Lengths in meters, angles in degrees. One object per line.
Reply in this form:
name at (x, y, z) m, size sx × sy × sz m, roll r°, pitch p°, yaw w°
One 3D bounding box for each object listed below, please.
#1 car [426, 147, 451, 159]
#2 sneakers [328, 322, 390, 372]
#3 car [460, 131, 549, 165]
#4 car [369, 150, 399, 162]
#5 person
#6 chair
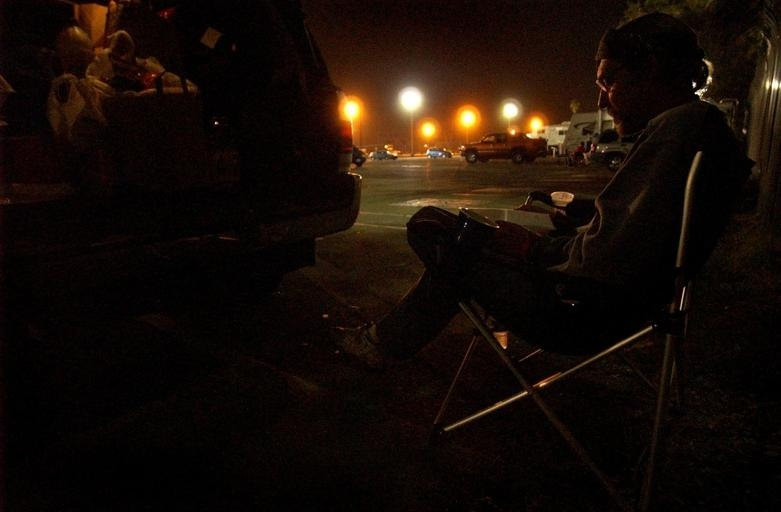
car at (4.732, -10.301, 55.663) m, size 2.694 × 1.154 × 1.569 m, roll 5°, pitch 12°, yaw 32°
sneakers at (-0.245, 0.567, 3.547) m, size 0.205 × 0.215 × 0.565 m, roll -8°, pitch 16°, yaw -30°
car at (6.453, -5.997, 30.598) m, size 4.409 × 1.395 × 2.119 m, roll 7°, pitch 16°, yaw 37°
car at (-1.079, -9.274, 51.429) m, size 2.992 × 0.976 × 1.548 m, roll 12°, pitch 20°, yaw 23°
person at (0.770, -0.283, 2.973) m, size 1.938 × 1.480 × 1.154 m, roll 2°, pitch 9°, yaw 37°
chair at (0.908, 0.122, 3.295) m, size 1.516 × 1.929 × 1.447 m, roll 12°, pitch 13°, yaw 19°
